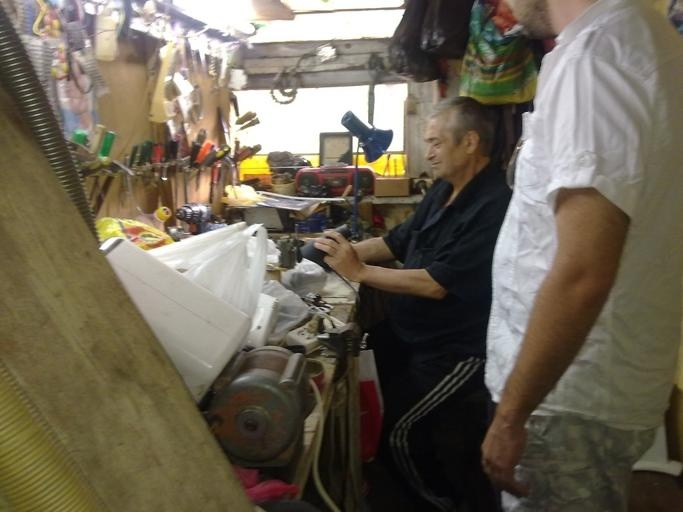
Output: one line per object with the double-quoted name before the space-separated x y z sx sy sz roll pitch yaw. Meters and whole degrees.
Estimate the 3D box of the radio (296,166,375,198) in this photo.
"radio" -0.103 -0.500 3.464 0.492 0.180 0.604 4 10 -11

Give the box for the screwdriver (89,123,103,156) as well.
"screwdriver" -0.793 -0.374 1.739 0.053 0.095 0.209 -6 14 -24

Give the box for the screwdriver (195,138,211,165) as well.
"screwdriver" -0.663 -0.489 2.601 0.069 0.099 0.148 0 13 -2

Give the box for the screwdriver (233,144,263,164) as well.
"screwdriver" -0.549 -0.584 3.103 0.099 0.095 0.245 1 12 4
